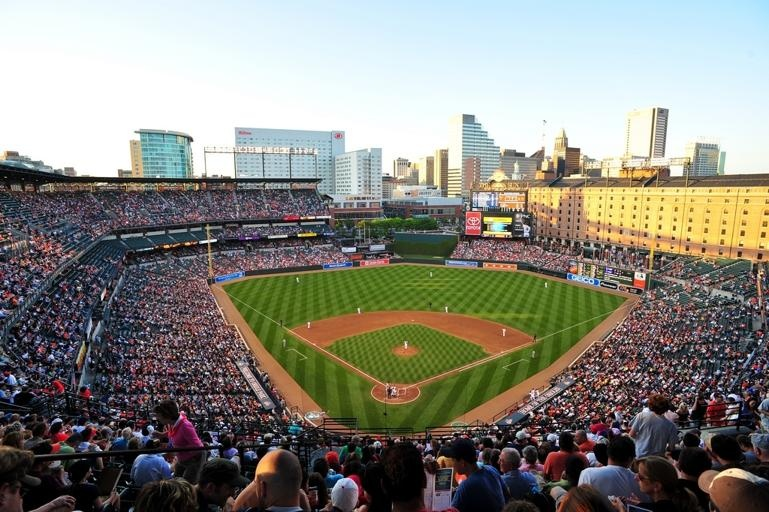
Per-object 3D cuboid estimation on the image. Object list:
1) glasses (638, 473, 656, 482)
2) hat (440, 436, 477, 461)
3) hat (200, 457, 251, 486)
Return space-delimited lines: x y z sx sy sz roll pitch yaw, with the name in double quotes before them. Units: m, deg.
"glasses" 5.321 4.512 9.637 0.217 0.051 0.190 7 -1 10
"hat" 1.701 4.268 10.617 0.768 0.348 0.512 7 4 26
"hat" -3.209 4.380 9.623 0.895 0.359 0.548 2 -4 -19
